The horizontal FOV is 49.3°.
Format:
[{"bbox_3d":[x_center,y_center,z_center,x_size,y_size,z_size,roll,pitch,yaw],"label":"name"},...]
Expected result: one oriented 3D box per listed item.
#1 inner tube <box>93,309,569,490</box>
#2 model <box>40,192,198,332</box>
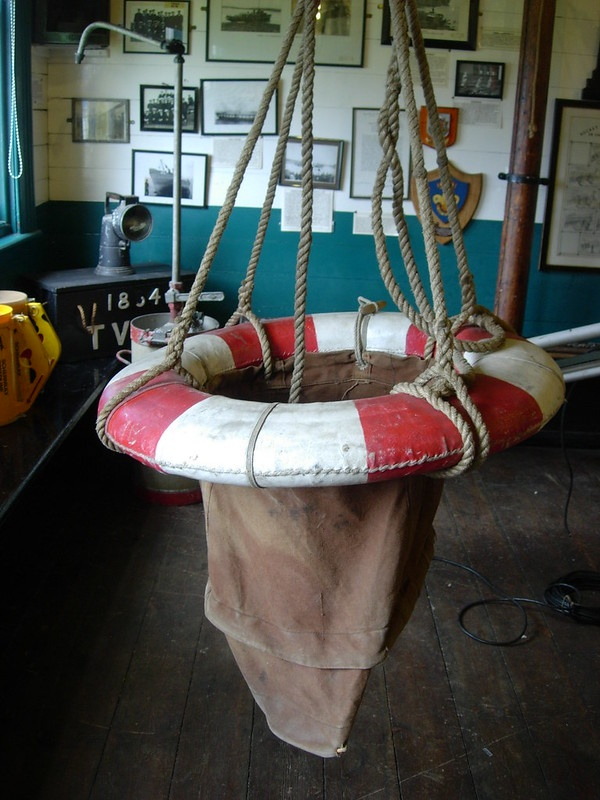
[{"bbox_3d":[0.063,-0.015,1.204,0.807,0.133,0.792,-4,8,-13],"label":"inner tube"},{"bbox_3d":[-0.789,-0.535,2.786,0.672,0.649,0.386,-12,26,-38],"label":"model"}]
